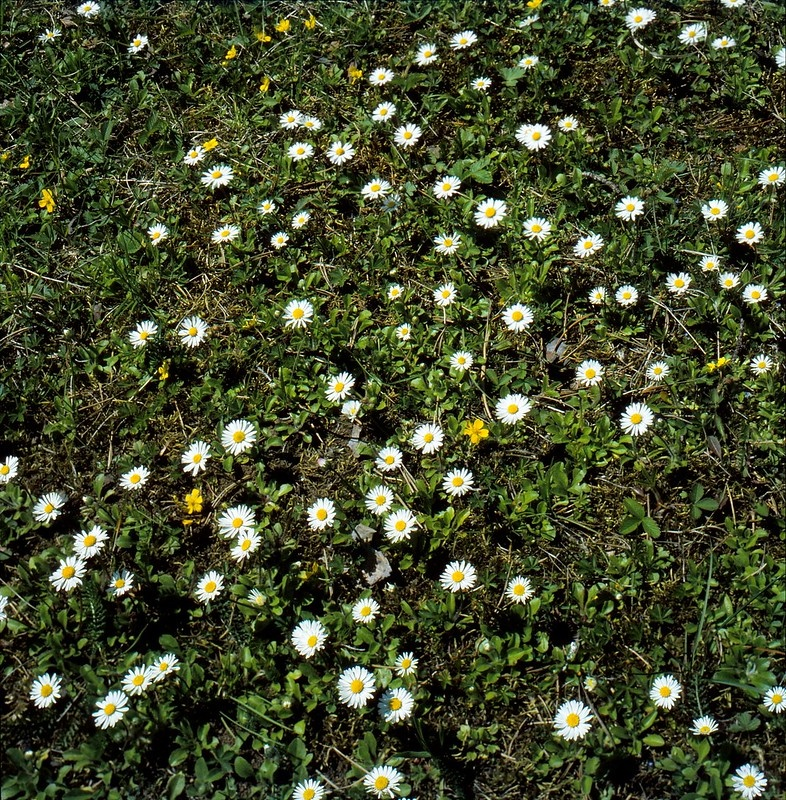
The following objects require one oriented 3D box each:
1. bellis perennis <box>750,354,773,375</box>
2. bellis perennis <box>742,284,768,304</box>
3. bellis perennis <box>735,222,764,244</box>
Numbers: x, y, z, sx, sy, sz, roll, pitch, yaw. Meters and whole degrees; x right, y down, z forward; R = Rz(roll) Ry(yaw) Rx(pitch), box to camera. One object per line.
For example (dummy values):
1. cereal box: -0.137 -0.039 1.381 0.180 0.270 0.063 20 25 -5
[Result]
1. bellis perennis: 1.492 -0.140 3.325 0.074 0.021 0.078 32 74 24
2. bellis perennis: 1.507 -0.439 3.430 0.069 0.072 0.085 -41 62 -19
3. bellis perennis: 1.526 -0.711 3.506 0.092 0.037 0.098 17 86 25
